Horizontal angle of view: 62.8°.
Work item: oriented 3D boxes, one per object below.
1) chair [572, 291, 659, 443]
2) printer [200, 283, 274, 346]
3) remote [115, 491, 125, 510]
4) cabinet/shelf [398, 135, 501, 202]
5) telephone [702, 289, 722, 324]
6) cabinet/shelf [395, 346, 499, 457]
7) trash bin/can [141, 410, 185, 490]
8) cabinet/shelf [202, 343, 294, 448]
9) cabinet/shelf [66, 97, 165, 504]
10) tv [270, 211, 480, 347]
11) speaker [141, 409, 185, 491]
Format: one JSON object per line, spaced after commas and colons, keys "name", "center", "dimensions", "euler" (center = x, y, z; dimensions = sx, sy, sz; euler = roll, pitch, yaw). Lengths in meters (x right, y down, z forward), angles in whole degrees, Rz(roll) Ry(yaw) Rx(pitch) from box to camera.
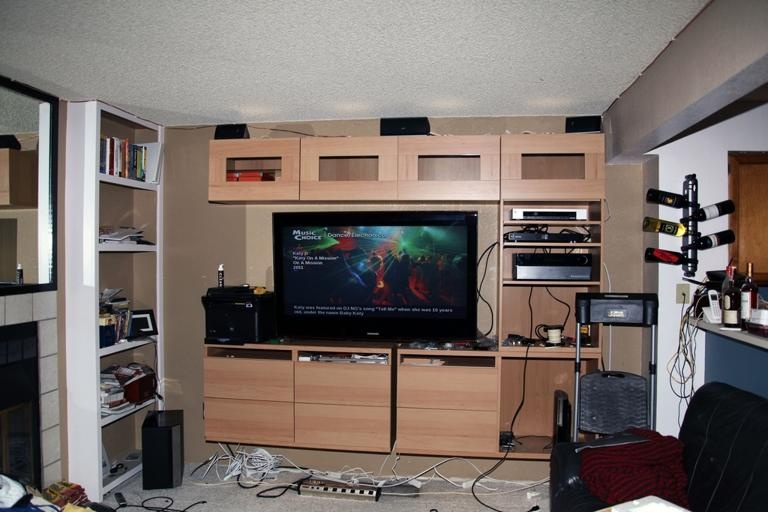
{"name": "chair", "center": [1.820, 0.999, 5.016], "dimensions": [0.763, 1.288, 0.532], "euler": [0, -5, 20]}
{"name": "printer", "center": [-1.228, 0.501, 5.558], "dimensions": [0.576, 0.449, 0.536], "euler": [0, 2, 13]}
{"name": "remote", "center": [-2.078, 1.943, 4.989], "dimensions": [0.055, 0.039, 0.178], "euler": [-2, 1, -29]}
{"name": "cabinet/shelf", "center": [0.467, -0.724, 5.424], "dimensions": [0.939, 0.481, 0.456], "euler": [-3, 8, -22]}
{"name": "telephone", "center": [2.426, 0.373, 4.682], "dimensions": [0.120, 0.231, 0.374], "euler": [-1, -1, 27]}
{"name": "cabinet/shelf", "center": [0.514, 1.200, 5.086], "dimensions": [1.067, 0.814, 0.520], "euler": [0, -3, 5]}
{"name": "trash bin/can", "center": [-1.744, 1.666, 5.379], "dimensions": [0.320, 0.502, 0.558], "euler": [-5, -6, 11]}
{"name": "cabinet/shelf", "center": [-0.990, 1.247, 5.529], "dimensions": [0.931, 0.737, 0.596], "euler": [-4, -8, 26]}
{"name": "cabinet/shelf", "center": [-2.233, 0.355, 5.333], "dimensions": [0.419, 3.165, 0.797], "euler": [-1, -1, 17]}
{"name": "tv", "center": [-0.001, 0.186, 5.304], "dimensions": [1.357, 0.730, 0.165], "euler": [0, 4, 5]}
{"name": "speaker", "center": [-1.833, 1.630, 5.379], "dimensions": [0.363, 0.498, 0.578], "euler": [-1, 2, 1]}
